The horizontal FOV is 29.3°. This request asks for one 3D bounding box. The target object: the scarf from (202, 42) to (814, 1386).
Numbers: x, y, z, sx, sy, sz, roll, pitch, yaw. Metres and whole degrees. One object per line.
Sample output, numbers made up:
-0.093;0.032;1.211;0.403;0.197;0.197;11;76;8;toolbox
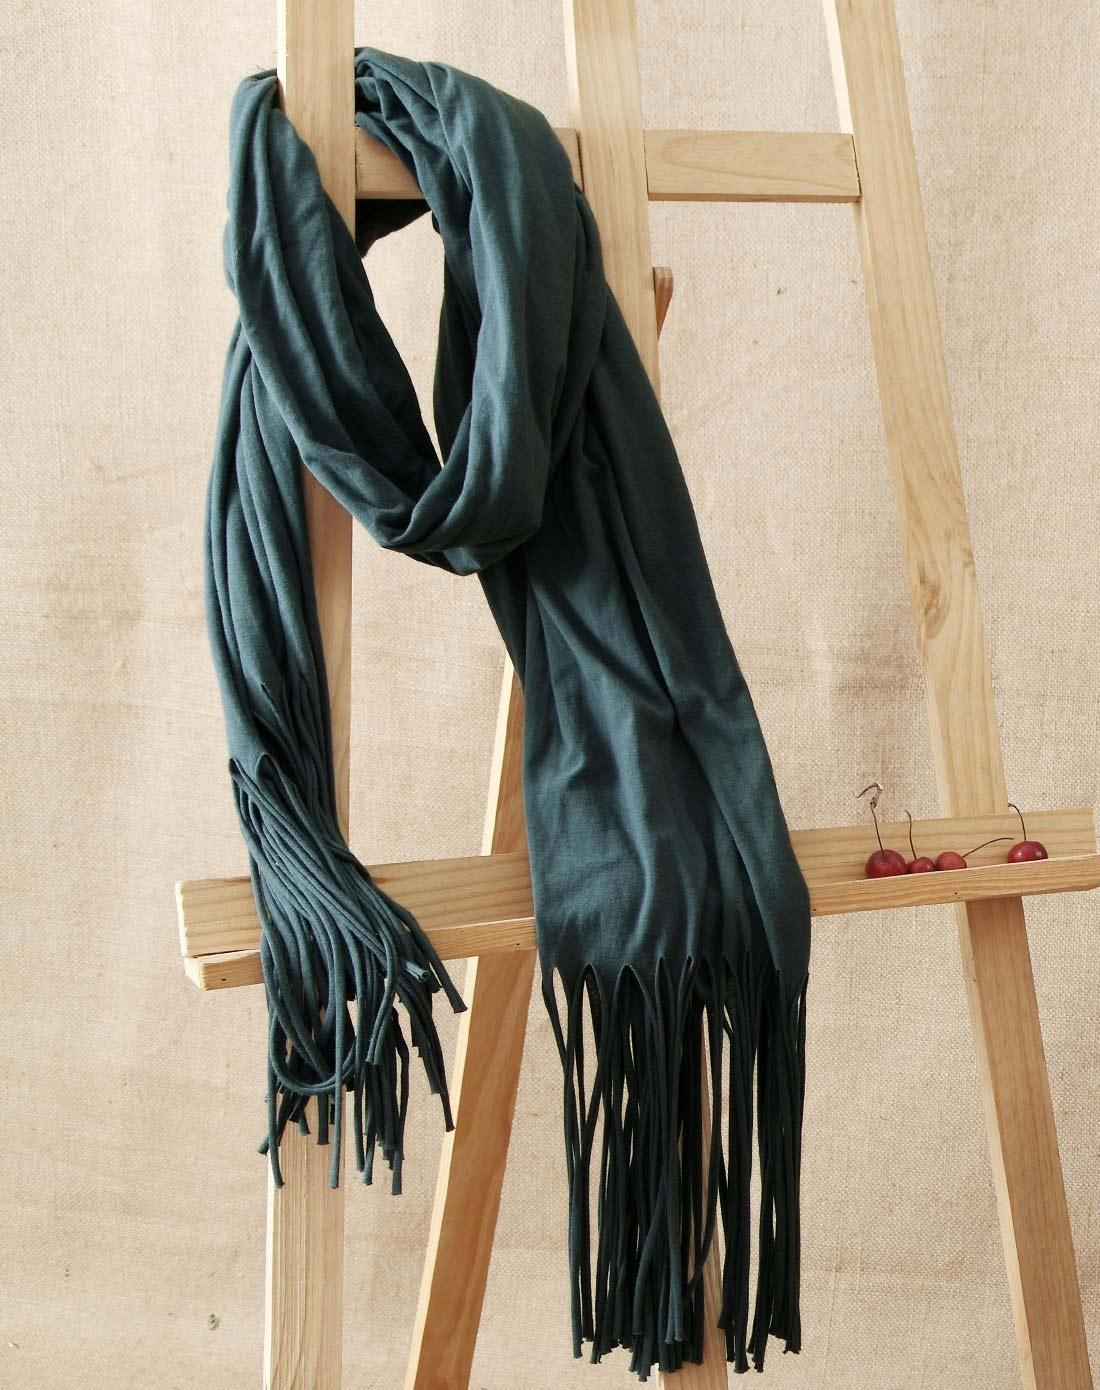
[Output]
-0.026;0.025;1.755;0.470;1.586;0.202;3;-40;-7;scarf
